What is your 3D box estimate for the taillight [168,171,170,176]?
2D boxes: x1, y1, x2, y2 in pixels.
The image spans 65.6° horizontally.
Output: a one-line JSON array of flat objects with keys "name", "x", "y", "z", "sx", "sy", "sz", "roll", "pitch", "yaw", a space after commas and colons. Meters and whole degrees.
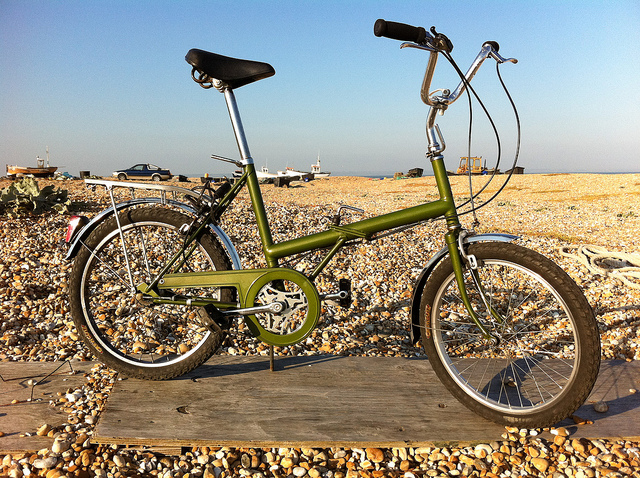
[{"name": "taillight", "x": -8.413, "y": -3.617, "z": 27.584, "sx": 0.081, "sy": 0.208, "sz": 0.310, "roll": -7, "pitch": 16, "yaw": -20}]
